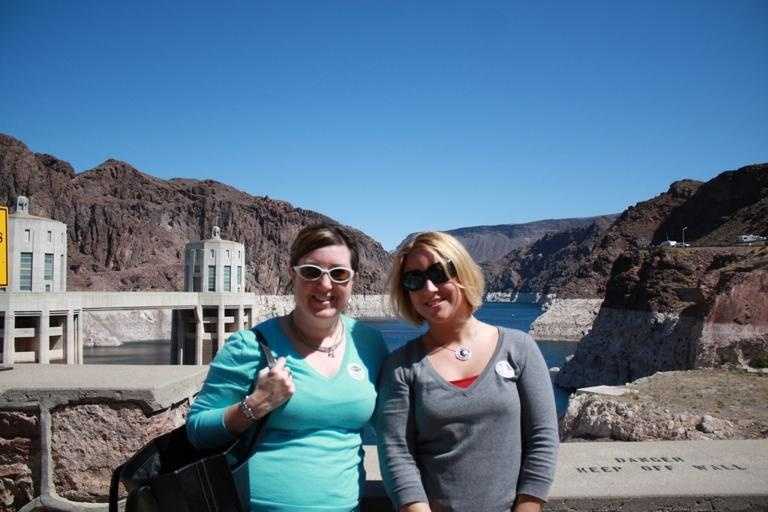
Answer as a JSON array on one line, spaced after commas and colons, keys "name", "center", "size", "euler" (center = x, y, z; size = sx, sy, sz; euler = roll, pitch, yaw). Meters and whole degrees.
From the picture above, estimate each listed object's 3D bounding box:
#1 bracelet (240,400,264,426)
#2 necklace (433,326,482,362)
[{"name": "bracelet", "center": [-0.978, 1.161, 4.339], "size": [0.131, 0.200, 0.162], "euler": [-2, -5, 36]}, {"name": "necklace", "center": [0.582, 0.704, 4.556], "size": [0.495, 0.128, 0.245], "euler": [-5, 15, 1]}]
